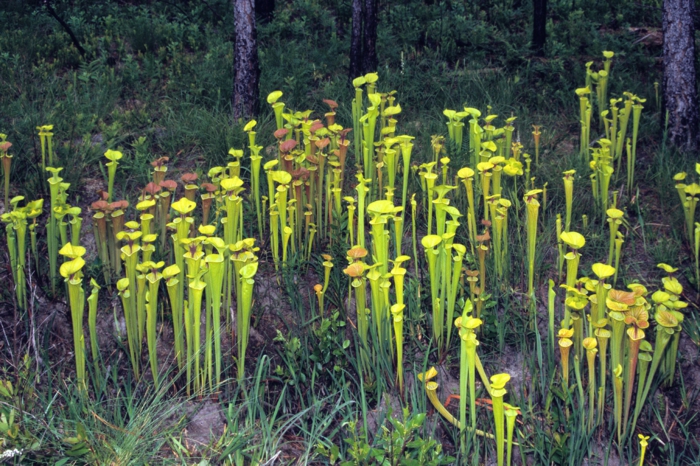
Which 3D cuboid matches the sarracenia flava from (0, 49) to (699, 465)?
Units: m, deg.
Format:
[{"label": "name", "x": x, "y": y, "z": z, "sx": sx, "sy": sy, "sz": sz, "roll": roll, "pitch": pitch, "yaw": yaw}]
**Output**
[{"label": "sarracenia flava", "x": 0.145, "y": 0.391, "z": 6.475, "sx": 5.804, "sy": 3.384, "sz": 2.438, "roll": -4, "pitch": 11, "yaw": 1}]
